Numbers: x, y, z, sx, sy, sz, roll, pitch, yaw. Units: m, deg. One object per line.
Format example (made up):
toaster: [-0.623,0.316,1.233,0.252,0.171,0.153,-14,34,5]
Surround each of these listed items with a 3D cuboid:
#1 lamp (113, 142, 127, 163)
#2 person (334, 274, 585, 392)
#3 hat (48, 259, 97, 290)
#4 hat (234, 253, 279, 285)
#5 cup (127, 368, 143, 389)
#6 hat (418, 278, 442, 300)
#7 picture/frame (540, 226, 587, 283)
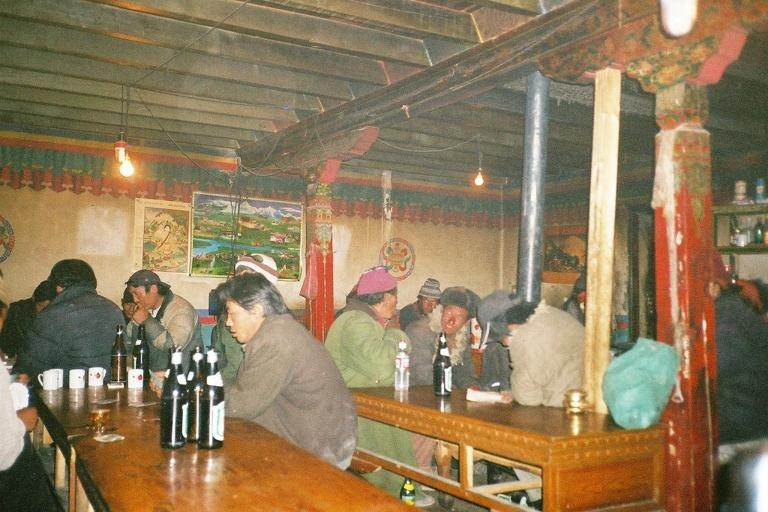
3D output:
lamp: [-3.330,-1.319,8.317,0.123,0.277,0.302,2,-3,-22]
person: [0.563,0.730,7.051,2.170,1.141,1.165,-2,-1,2]
hat: [-3.248,0.178,6.904,0.415,0.326,0.318,-12,13,-30]
hat: [-1.329,0.106,7.162,0.512,0.375,0.380,-4,5,-35]
cup: [-2.346,1.179,6.309,0.170,0.175,0.162,1,-3,0]
hat: [0.646,0.459,8.983,0.243,0.239,0.307,20,5,-16]
picture/frame: [3.575,-0.035,13.029,1.106,1.025,0.086,1,3,-21]
